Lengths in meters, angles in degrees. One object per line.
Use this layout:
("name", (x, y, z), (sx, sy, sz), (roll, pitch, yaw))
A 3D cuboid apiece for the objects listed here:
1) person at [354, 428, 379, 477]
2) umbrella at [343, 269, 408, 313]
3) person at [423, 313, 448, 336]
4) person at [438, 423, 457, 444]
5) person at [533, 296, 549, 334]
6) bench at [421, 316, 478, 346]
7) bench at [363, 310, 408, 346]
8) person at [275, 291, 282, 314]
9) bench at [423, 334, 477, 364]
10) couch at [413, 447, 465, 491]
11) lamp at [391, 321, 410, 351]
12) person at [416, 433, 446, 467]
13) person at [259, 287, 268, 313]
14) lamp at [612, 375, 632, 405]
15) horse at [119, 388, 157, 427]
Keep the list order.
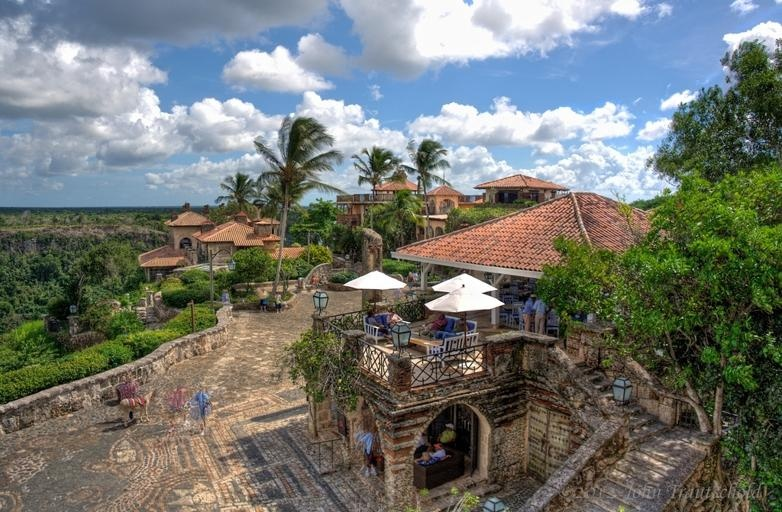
("person", (-0.943, 7.501, 19.714), (0.805, 1.621, 0.501), (1, 8, 43))
("umbrella", (-0.724, 1.787, 22.471), (1.979, 1.381, 1.977), (-5, 10, -28))
("person", (1.825, 2.900, 21.600), (0.552, 0.571, 1.524), (-7, 17, 34))
("person", (2.190, 6.926, 20.175), (0.646, 0.753, 0.433), (-5, -29, 7))
("person", (6.132, 2.515, 21.228), (0.517, 1.288, 0.807), (-3, 6, 18))
("bench", (2.321, 2.871, 20.376), (1.027, 0.920, 2.363), (15, -13, -41))
("bench", (-0.343, 3.016, 21.563), (1.697, 1.014, 0.821), (1, 15, -45))
("person", (-8.465, 3.625, 38.767), (0.472, 1.144, 0.897), (-5, 5, -9))
("bench", (2.384, 3.464, 19.121), (2.047, 0.935, 1.382), (-6, 5, -15))
("couch", (1.561, 7.538, 19.253), (1.823, 0.840, 1.032), (-3, 8, -32))
("lamp", (0.311, 2.752, 17.704), (0.578, 0.931, 0.514), (-5, 5, -4))
("person", (1.451, 7.434, 19.294), (1.088, 0.612, 0.516), (6, -12, -30))
("person", (-9.748, 3.558, 39.365), (0.645, 1.197, 1.557), (-6, 5, -13))
("lamp", (8.030, 4.749, 18.019), (0.528, 1.191, 0.972), (-3, 5, 21))
("horse", (-10.856, 6.524, 22.169), (0.430, 1.158, 1.708), (-5, -3, 32))
